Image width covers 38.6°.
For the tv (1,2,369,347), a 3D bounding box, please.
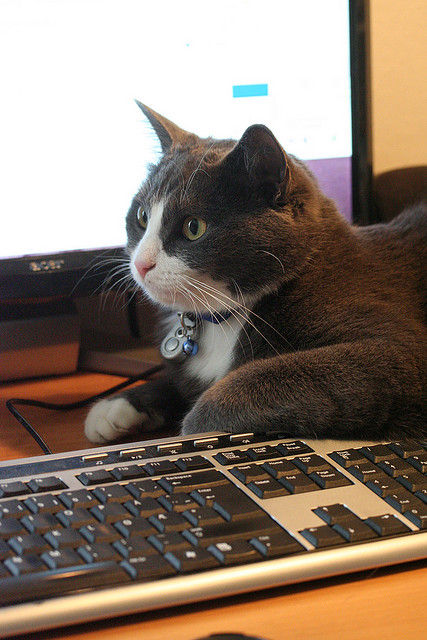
[{"bbox_3d":[-0.029,-0.176,0.674,0.441,0.364,0.108,-2,15,-16],"label":"tv"}]
